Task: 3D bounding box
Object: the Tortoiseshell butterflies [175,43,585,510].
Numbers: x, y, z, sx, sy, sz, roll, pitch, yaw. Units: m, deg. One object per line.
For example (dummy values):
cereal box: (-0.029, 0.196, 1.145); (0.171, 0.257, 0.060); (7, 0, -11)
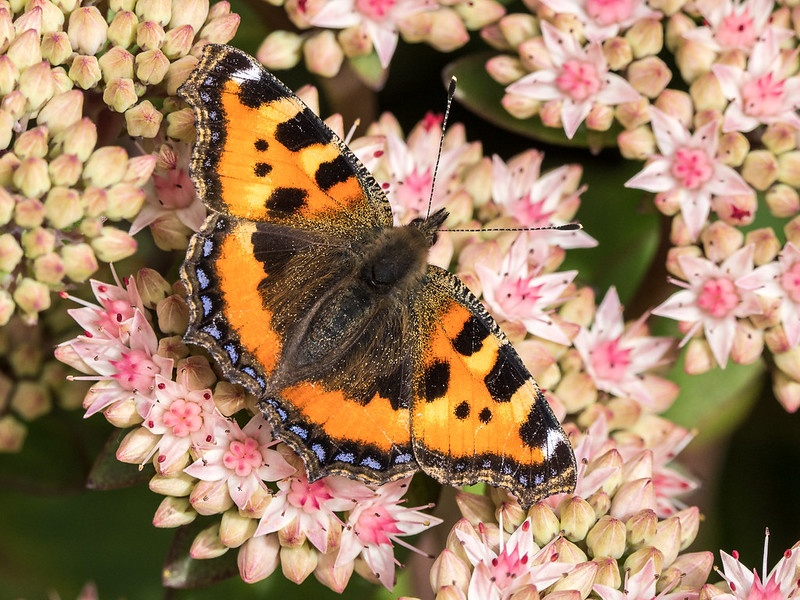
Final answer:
Tortoiseshell butterflies: (-0.125, 0.025, 1.891); (0.567, 0.231, 1.148); (-36, 85, -3)
